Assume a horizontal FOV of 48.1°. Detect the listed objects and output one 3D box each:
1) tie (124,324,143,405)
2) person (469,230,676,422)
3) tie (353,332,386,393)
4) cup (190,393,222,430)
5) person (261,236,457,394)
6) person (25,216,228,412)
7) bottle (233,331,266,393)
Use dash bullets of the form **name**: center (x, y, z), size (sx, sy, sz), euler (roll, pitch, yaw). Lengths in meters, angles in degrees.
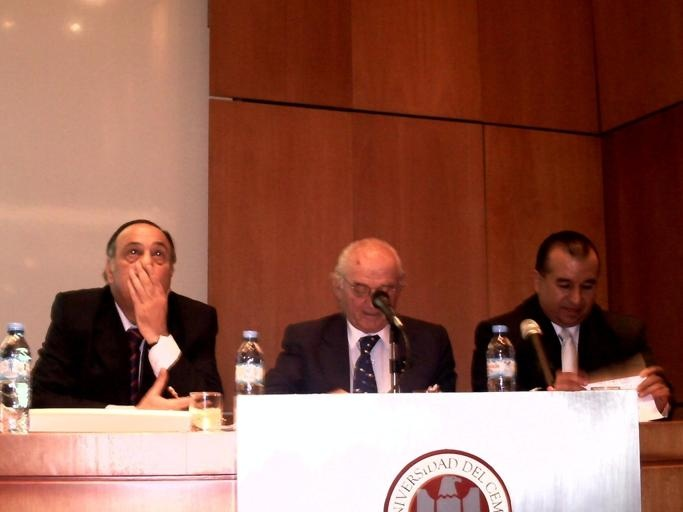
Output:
- **tie**: center (-0.827, 0.438, 3.041), size (0.043, 0.304, 0.112), euler (9, -16, -39)
- **person**: center (0.944, 0.229, 3.317), size (0.780, 0.679, 0.382), euler (-4, -13, 10)
- **tie**: center (0.091, 0.430, 2.991), size (0.092, 0.075, 0.349), euler (0, -42, -2)
- **cup**: center (-0.402, 0.460, 2.261), size (0.085, 0.120, 0.098), euler (1, -11, -5)
- **person**: center (0.074, 0.356, 3.359), size (0.466, 0.669, 0.759), euler (1, -20, -6)
- **person**: center (-0.880, 0.215, 2.979), size (0.778, 0.835, 0.697), euler (-4, -14, 12)
- **bottle**: center (-0.320, 0.380, 2.660), size (0.094, 0.217, 0.283), euler (1, -15, -8)
